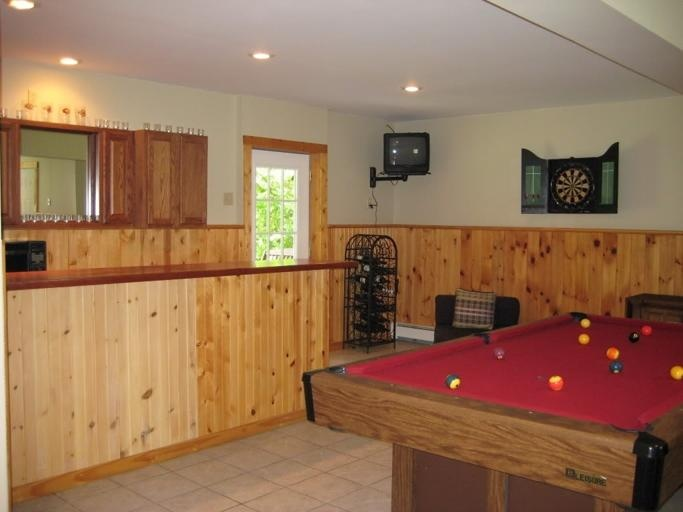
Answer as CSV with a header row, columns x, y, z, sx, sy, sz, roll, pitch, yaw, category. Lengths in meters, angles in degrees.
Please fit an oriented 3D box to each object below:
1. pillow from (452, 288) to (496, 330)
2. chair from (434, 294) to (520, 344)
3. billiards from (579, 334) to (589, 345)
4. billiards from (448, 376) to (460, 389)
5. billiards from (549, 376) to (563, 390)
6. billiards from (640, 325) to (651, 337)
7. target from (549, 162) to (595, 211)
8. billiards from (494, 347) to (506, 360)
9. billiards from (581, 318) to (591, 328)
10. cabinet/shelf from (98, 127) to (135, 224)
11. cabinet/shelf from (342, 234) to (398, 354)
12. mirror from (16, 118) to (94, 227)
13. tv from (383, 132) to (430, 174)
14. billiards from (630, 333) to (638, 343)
x,y,z,sx,sy,sz,roll,pitch,yaw,category
1.533,0.631,6.579,0.369,0.389,0.129,4,-24,15,pillow
1.497,0.846,6.536,0.953,0.746,0.518,2,4,31,chair
1.521,0.507,3.539,0.061,0.072,0.063,-7,9,-11,billiards
0.503,0.564,2.542,0.041,0.054,0.042,-19,18,39,billiards
0.982,0.579,2.625,0.062,0.064,0.061,-20,15,-39,billiards
2.048,0.497,3.801,0.064,0.068,0.065,2,-2,4,billiards
2.643,-0.812,6.498,0.083,0.483,0.436,-3,6,-41,target
0.867,0.529,3.101,0.048,0.052,0.051,0,-1,-25,billiards
1.706,0.458,3.966,0.063,0.067,0.063,-5,6,2,billiards
-2.058,-0.726,5.167,0.303,0.797,0.174,9,9,43,cabinet/shelf
0.436,0.480,7.301,0.452,1.590,0.617,-1,8,-32,cabinet/shelf
-2.483,-0.694,4.969,0.605,0.796,0.253,-3,10,-33,mirror
0.856,-1.347,7.478,0.617,0.532,0.175,3,8,1,tv
1.829,0.497,3.554,0.040,0.057,0.056,15,51,26,billiards
